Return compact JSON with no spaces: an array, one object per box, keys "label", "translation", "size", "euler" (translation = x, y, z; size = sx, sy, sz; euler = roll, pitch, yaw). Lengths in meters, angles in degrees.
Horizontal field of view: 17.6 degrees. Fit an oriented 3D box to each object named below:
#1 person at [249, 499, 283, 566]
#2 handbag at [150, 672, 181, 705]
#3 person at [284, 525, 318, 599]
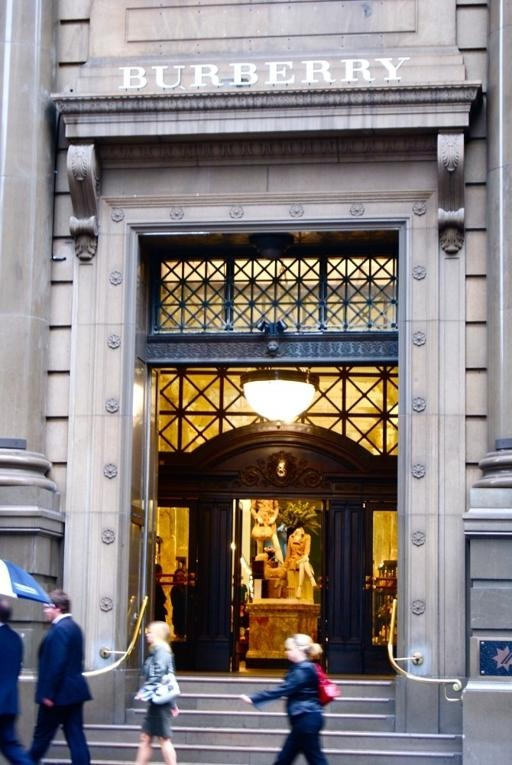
[{"label":"person","translation":[0.174,1.886,22.357],"size":[0.378,1.223,0.305],"euler":[6,-33,-9]},{"label":"handbag","translation":[-0.713,2.399,13.040],"size":[0.223,0.245,0.163],"euler":[3,-9,-18]},{"label":"person","translation":[0.625,2.394,22.268],"size":[0.426,1.000,1.072],"euler":[0,-9,2]}]
